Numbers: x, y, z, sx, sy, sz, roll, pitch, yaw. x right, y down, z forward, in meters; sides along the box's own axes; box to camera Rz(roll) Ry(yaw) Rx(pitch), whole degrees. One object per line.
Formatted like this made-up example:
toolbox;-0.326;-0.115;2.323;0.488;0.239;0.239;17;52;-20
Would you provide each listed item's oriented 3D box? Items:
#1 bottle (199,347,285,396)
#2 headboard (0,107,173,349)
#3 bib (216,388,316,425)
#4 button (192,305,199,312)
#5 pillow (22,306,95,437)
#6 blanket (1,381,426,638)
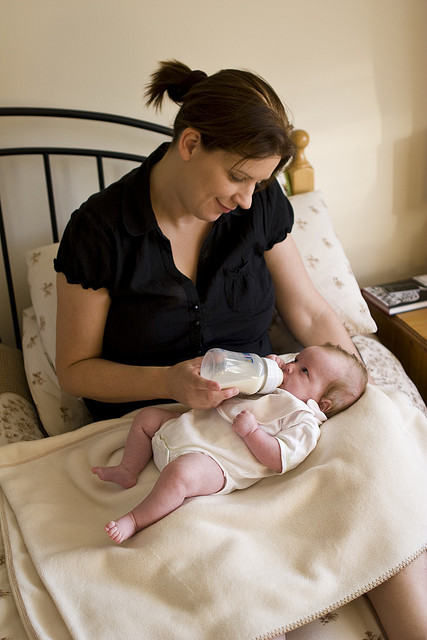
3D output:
bottle;0.055;0.095;0.989;0.168;0.110;0.047;-17;20;-33
headboard;-0.389;-0.289;1.682;0.596;0.731;0.209;-8;17;-8
bib;0.090;0.164;1.011;0.112;0.034;0.085;-12;23;-16
button;-0.038;-0.025;1.136;0.011;0.011;0.011;-5;21;24
pillow;-0.443;0.142;1.446;0.231;0.271;0.065;-9;-17;-27
blanket;0.019;0.314;0.793;0.525;0.076;0.410;-11;41;-12
